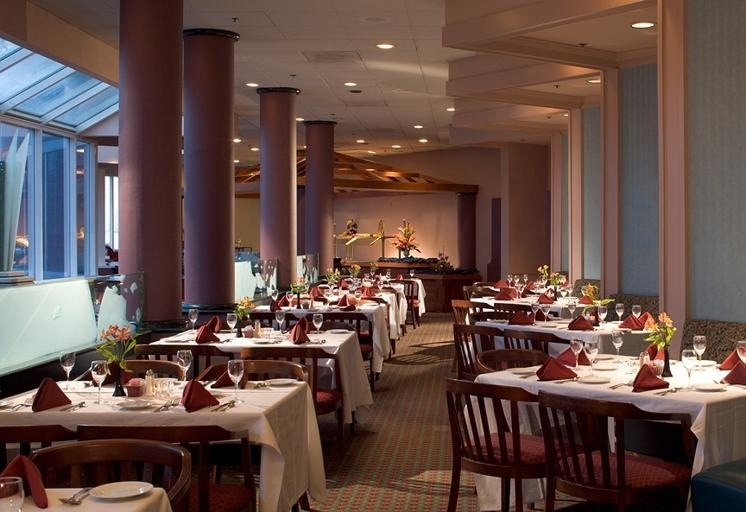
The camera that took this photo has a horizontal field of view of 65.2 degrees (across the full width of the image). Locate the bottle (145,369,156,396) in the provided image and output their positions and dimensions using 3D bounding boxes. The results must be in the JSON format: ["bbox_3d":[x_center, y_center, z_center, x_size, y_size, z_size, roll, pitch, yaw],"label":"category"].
[{"bbox_3d":[-1.417,0.799,3.716,0.059,0.153,0.201,2,-1,-21],"label":"bottle"}]

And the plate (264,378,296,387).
[{"bbox_3d":[-0.622,0.851,3.934,0.226,0.023,0.120,2,-1,-5],"label":"plate"}]

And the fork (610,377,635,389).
[{"bbox_3d":[1.599,0.820,3.760,0.028,0.023,0.205,18,17,36],"label":"fork"}]

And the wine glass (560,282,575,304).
[{"bbox_3d":[3.021,0.585,9.151,0.245,0.244,0.259,-1,-5,-4],"label":"wine glass"}]

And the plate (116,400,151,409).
[{"bbox_3d":[-1.413,0.876,3.474,0.219,0.026,0.198,2,-1,-6],"label":"plate"}]
